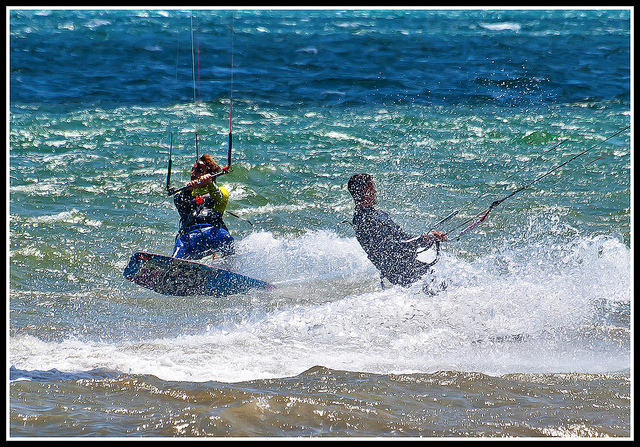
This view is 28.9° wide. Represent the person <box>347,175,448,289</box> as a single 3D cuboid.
[{"bbox_3d":[1.665,0.176,31.082,1.808,2.839,0.455,-2,12,2],"label":"person"}]
